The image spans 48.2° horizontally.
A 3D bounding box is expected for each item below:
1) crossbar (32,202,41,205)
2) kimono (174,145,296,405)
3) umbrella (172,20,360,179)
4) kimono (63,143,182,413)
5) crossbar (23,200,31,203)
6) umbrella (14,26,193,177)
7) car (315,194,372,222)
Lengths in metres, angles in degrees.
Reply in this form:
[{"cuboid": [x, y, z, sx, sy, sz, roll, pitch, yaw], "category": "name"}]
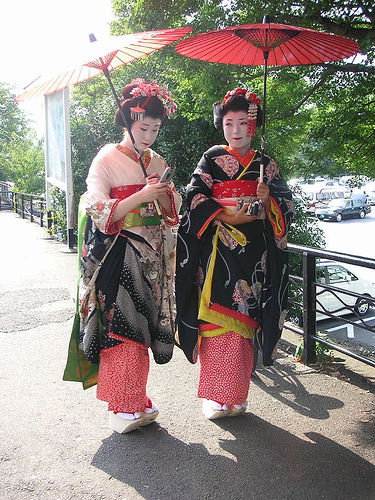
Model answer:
[{"cuboid": [-5.406, -1.651, 15.014, 0.162, 0.067, 0.919, -2, 5, -20], "category": "crossbar"}, {"cuboid": [0.260, 0.134, 2.393, 0.667, 1.447, 0.269, 0, 6, 6], "category": "kimono"}, {"cuboid": [0.547, -1.163, 3.029, 1.493, 0.898, 1.391, -1, 27, 3], "category": "umbrella"}, {"cuboid": [-0.295, 0.147, 2.252, 0.602, 1.463, 0.483, 1, 2, -25], "category": "kimono"}, {"cuboid": [-6.618, -2.001, 17.269, 0.092, 0.134, 1.330, -3, 6, -28], "category": "crossbar"}, {"cuboid": [-0.406, -0.758, 2.173, 0.689, 0.767, 0.718, -5, 7, -39], "category": "umbrella"}, {"cuboid": [9.005, -2.473, 24.440, 3.694, 1.614, 1.256, -4, 7, -34], "category": "car"}]
